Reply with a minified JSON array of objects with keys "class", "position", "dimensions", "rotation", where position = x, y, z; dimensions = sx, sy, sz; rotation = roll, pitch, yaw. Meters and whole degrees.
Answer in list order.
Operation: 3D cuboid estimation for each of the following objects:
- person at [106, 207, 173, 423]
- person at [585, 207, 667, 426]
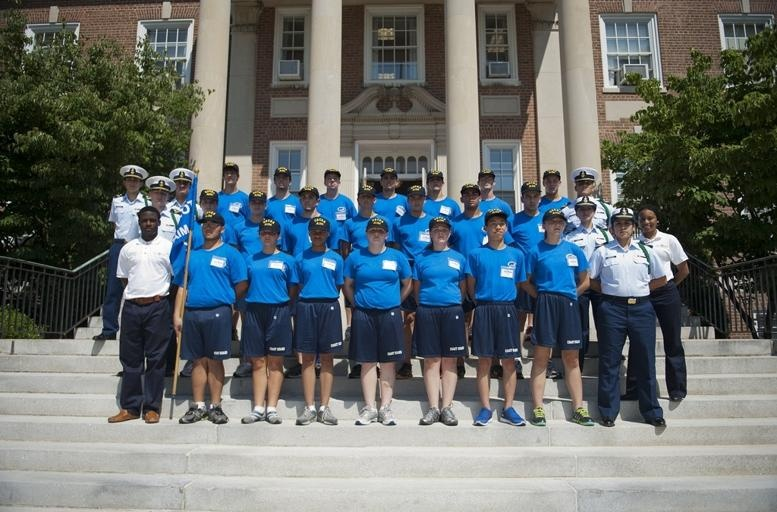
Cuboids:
[{"class":"person","position":[-4.459,1.014,13.998],"dimensions":[1.014,3.861,0.707],"rotation":[0,-1,-16]},{"class":"person","position":[4.300,1.079,13.779],"dimensions":[1.124,3.851,0.601],"rotation":[-1,-1,8]}]
